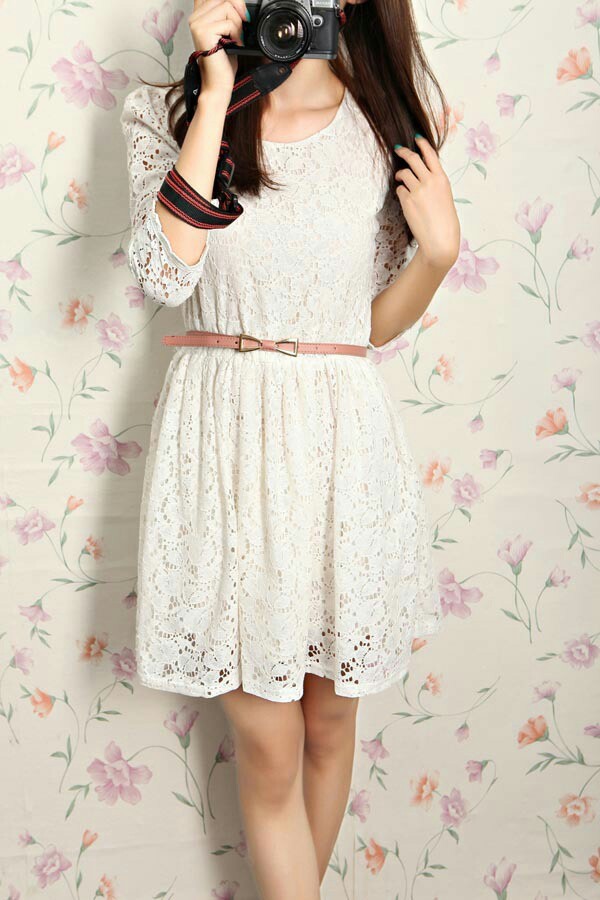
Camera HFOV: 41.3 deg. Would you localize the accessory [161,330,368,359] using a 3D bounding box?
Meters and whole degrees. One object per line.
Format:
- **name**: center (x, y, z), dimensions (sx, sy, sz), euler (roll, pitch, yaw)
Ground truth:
- **accessory**: center (-0.037, -0.122, 0.917), dimensions (0.184, 0.031, 0.026), euler (3, 82, -3)
